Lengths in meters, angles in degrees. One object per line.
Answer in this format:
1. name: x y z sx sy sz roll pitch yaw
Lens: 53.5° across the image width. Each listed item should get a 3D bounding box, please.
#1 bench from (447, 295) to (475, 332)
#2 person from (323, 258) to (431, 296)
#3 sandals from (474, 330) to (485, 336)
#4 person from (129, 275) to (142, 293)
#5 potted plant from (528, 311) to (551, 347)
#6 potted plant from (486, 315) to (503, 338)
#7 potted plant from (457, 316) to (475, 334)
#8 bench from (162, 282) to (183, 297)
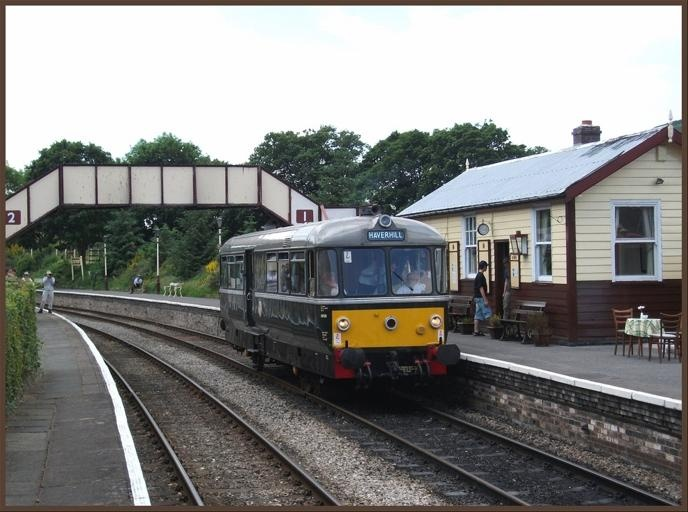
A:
1. bench: 3.725 1.825 21.634 0.558 0.969 1.289 0 -3 -24
2. person: 0.722 0.352 14.707 2.445 0.978 0.349 1 0 -15
3. sandals: 4.178 2.367 21.177 0.142 0.213 0.444 0 -5 -28
4. person: -19.342 2.539 62.940 0.762 2.011 0.548 14 14 6
5. potted plant: 5.254 1.981 18.661 0.764 1.151 0.700 0 -6 -7
6. potted plant: 4.439 2.071 20.357 0.462 0.815 0.612 2 -4 -14
7. potted plant: 3.893 2.195 21.853 0.369 0.506 0.542 -2 2 -2
8. bench: -14.406 2.809 57.479 1.177 1.695 4.066 0 3 -23
